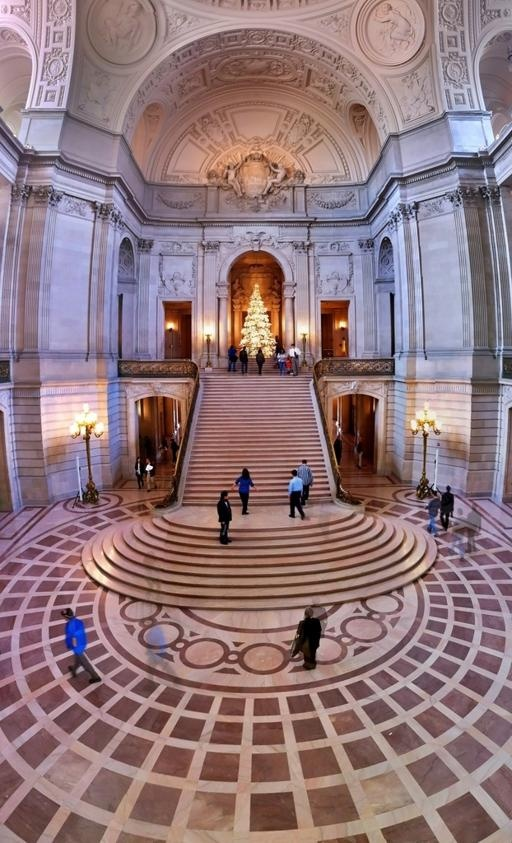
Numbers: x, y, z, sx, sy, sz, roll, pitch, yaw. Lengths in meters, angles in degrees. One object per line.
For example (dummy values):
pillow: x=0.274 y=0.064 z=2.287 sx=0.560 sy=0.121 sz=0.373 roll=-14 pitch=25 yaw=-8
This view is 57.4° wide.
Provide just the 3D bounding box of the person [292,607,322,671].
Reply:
person: x=0.644 y=2.703 z=5.989 sx=0.342 sy=1.087 sz=0.869 roll=0 pitch=5 yaw=5

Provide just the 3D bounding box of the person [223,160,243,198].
person: x=-1.017 y=-11.033 z=21.482 sx=0.832 sy=1.481 sz=0.401 roll=-6 pitch=5 yaw=-2

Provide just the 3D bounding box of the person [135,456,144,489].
person: x=-3.844 y=1.694 z=15.634 sx=0.210 sy=0.948 sz=0.635 roll=-1 pitch=5 yaw=-11

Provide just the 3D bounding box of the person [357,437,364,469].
person: x=4.185 y=1.200 z=18.956 sx=0.259 sy=1.149 sz=1.692 roll=0 pitch=6 yaw=13

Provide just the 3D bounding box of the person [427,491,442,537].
person: x=4.131 y=2.061 z=10.966 sx=0.256 sy=0.940 sz=1.531 roll=1 pitch=6 yaw=20

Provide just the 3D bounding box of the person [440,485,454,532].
person: x=4.327 y=1.975 z=10.703 sx=0.238 sy=1.220 sz=0.981 roll=1 pitch=6 yaw=22

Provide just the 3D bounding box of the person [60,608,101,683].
person: x=-2.216 y=2.762 z=5.997 sx=0.385 sy=0.974 sz=0.692 roll=-3 pitch=6 yaw=-24
